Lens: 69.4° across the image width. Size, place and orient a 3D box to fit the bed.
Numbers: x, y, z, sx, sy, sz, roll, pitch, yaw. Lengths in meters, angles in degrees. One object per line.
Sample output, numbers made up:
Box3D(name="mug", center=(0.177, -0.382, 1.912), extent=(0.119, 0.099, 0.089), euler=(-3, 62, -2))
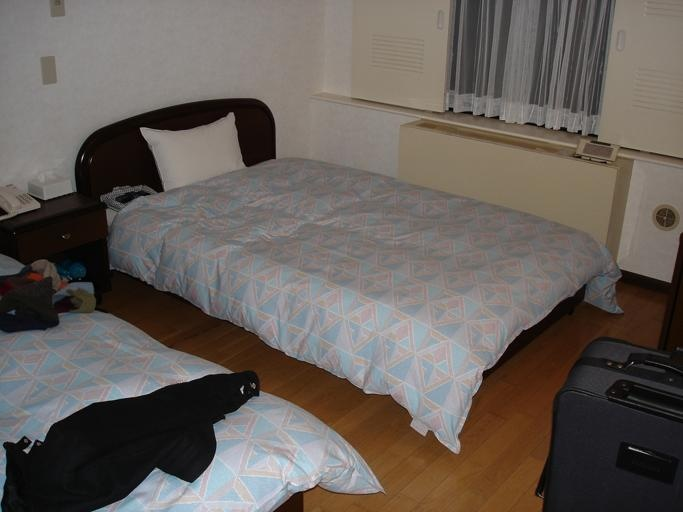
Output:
Box3D(name="bed", center=(-0.324, -0.119, 3.284), extent=(3.298, 1.234, 2.678), euler=(20, 34, 32))
